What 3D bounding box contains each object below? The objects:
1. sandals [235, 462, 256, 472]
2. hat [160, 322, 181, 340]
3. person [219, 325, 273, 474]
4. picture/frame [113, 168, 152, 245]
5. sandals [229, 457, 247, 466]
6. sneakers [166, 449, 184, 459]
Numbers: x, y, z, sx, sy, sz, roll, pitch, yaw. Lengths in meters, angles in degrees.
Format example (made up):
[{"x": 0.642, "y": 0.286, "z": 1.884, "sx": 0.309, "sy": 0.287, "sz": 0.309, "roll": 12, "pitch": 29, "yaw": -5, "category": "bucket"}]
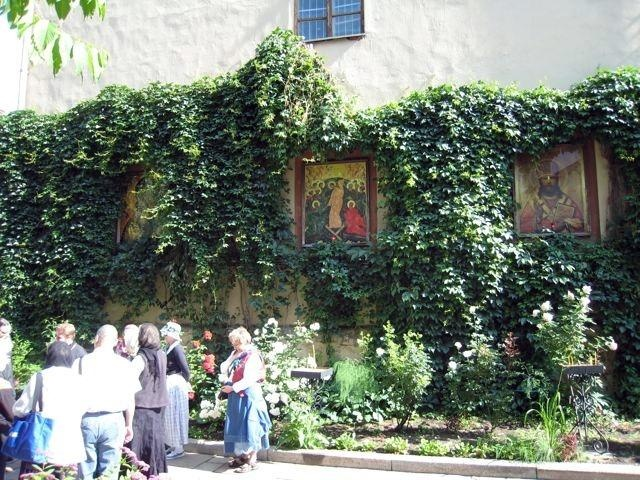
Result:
[{"x": -1.115, "y": 3.435, "z": 10.286, "sx": 0.301, "sy": 0.131, "sz": 0.114, "roll": 8, "pitch": -15, "yaw": -18, "category": "sandals"}, {"x": -2.254, "y": 1.389, "z": 10.505, "sx": 0.337, "sy": 0.221, "sz": 0.322, "roll": 2, "pitch": 6, "yaw": -38, "category": "hat"}, {"x": -1.141, "y": 2.420, "z": 10.332, "sx": 0.724, "sy": 2.127, "sz": 0.525, "roll": 0, "pitch": -8, "yaw": -1, "category": "person"}, {"x": -3.950, "y": -0.577, "z": 14.422, "sx": 0.641, "sy": 1.890, "sz": 0.111, "roll": -8, "pitch": -38, "yaw": -6, "category": "picture/frame"}, {"x": -1.265, "y": 3.386, "z": 10.422, "sx": 0.314, "sy": 0.139, "sz": 0.118, "roll": 4, "pitch": -3, "yaw": 7, "category": "sandals"}, {"x": -2.281, "y": 3.374, "z": 10.733, "sx": 0.245, "sy": 0.107, "sz": 0.091, "roll": 6, "pitch": 3, "yaw": -34, "category": "sneakers"}]
